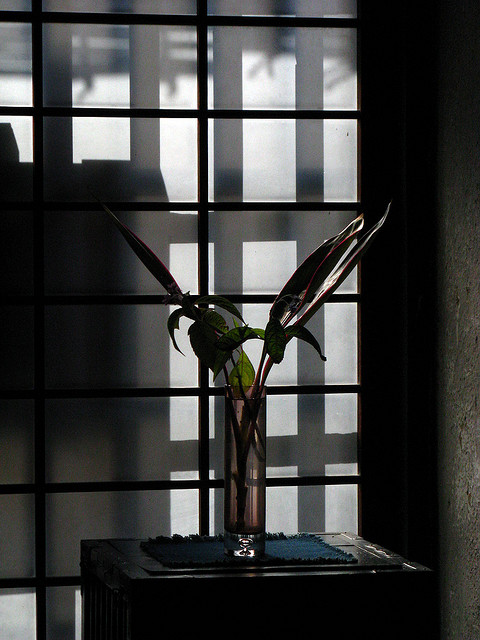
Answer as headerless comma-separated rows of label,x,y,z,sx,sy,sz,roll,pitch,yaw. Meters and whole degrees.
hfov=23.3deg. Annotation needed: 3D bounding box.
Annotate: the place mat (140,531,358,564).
place mat,0.006,0.458,2.402,0.294,0.419,0.042,3,-90,-12
